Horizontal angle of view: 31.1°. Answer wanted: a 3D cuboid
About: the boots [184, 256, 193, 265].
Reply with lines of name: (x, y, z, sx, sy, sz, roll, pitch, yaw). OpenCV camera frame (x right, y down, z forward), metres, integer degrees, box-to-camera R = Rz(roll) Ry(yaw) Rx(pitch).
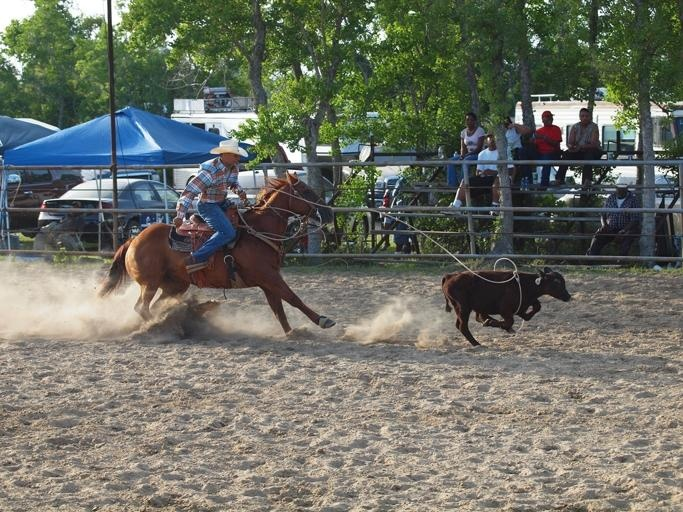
boots: (-2.193, 0.074, 17.713, 0.134, 0.107, 0.115, -1, -8, 0)

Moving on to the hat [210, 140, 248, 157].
hat: (-1.589, -1.536, 17.558, 0.413, 0.136, 0.303, 2, -2, -5)

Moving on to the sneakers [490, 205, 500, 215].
sneakers: (2.750, -0.804, 21.888, 0.157, 0.168, 0.424, 2, 9, 0)

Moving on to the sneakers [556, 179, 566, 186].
sneakers: (3.940, -1.309, 21.953, 0.119, 0.059, 0.147, 3, 14, 11)

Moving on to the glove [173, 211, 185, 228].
glove: (-2.350, -0.519, 17.758, 0.191, 0.225, 0.062, 17, 4, 12)

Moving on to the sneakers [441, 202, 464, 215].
sneakers: (2.002, -0.818, 21.440, 0.188, 0.198, 0.523, -5, -7, 44)

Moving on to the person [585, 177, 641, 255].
person: (4.917, -0.627, 21.934, 0.867, 1.298, 1.838, 0, 5, 13)

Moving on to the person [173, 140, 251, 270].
person: (-1.868, -0.714, 17.723, 1.056, 1.902, 0.537, -1, 5, -6)
